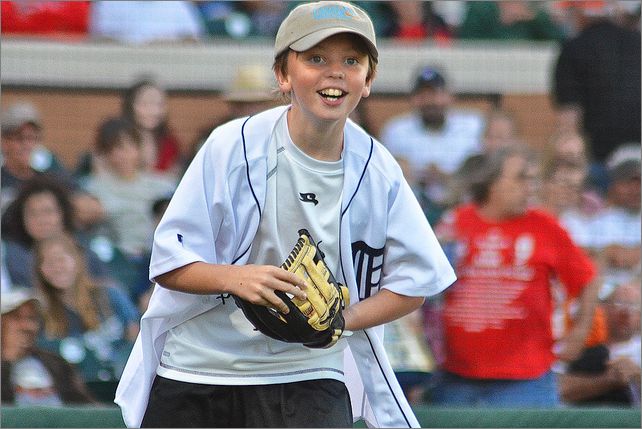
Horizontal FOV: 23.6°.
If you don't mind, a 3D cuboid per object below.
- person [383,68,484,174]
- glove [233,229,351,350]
[{"bbox_3d":[0.819,-0.735,11.159,0.798,1.128,0.413,-1,8,17],"label":"person"},{"bbox_3d":[-0.153,0.472,9.463,0.712,0.764,0.241,-6,7,-10],"label":"glove"}]
